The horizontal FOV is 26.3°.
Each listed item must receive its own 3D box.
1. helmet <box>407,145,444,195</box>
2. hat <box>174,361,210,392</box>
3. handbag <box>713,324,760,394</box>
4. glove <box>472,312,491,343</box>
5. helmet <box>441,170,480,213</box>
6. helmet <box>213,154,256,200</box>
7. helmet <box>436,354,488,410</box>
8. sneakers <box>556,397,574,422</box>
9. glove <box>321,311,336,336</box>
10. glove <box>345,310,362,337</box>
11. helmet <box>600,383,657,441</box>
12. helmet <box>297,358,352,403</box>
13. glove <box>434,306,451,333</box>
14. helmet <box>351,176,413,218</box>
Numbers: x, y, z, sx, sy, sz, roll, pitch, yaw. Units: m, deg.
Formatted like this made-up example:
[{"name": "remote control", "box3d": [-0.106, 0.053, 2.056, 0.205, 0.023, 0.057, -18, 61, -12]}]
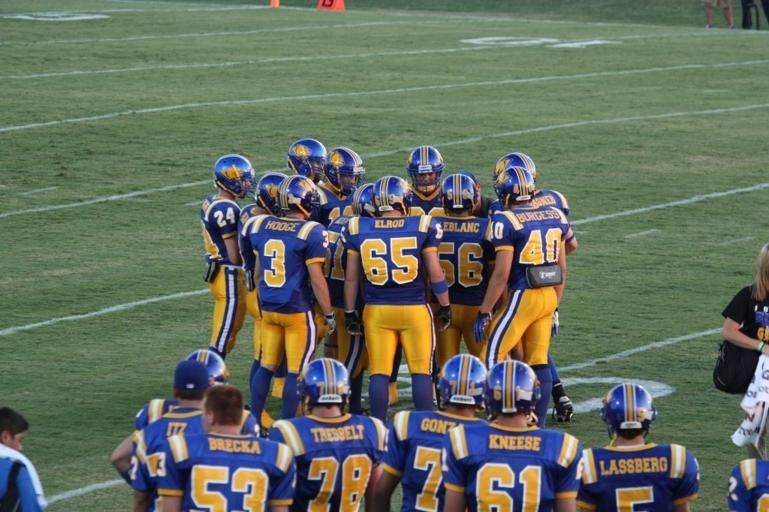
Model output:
[{"name": "helmet", "box3d": [0.422, -1.095, 19.781, 0.554, 0.477, 0.585, -1, 24, 1]}, {"name": "hat", "box3d": [-2.009, 1.256, 17.189, 0.362, 0.324, 0.180, -2, 10, -6]}, {"name": "handbag", "box3d": [3.941, 1.248, 18.387, 0.507, 0.587, 0.236, 8, 13, 42]}, {"name": "glove", "box3d": [1.164, 0.832, 19.332, 0.207, 0.391, 0.332, 0, 9, 4]}, {"name": "helmet", "box3d": [0.912, -0.724, 19.299, 0.449, 0.350, 0.501, 1, 19, 7]}, {"name": "helmet", "box3d": [-1.855, -1.016, 20.251, 0.673, 0.489, 0.438, 2, 18, -11]}, {"name": "helmet", "box3d": [0.819, 1.304, 17.002, 0.488, 0.405, 0.567, 4, 4, 1]}, {"name": "sneakers", "box3d": [2.147, 1.823, 19.404, 0.248, 0.254, 0.110, -2, 0, 18]}, {"name": "glove", "box3d": [-0.585, 0.797, 19.361, 0.123, 0.241, 0.213, -7, 1, -34]}, {"name": "glove", "box3d": [-0.346, 0.791, 19.376, 0.149, 0.330, 0.278, 2, 10, 15]}, {"name": "helmet", "box3d": [2.555, 1.558, 17.090, 0.580, 0.439, 0.576, 0, 19, 5]}, {"name": "helmet", "box3d": [-0.613, 1.303, 17.125, 0.467, 0.360, 0.526, 2, 11, -9]}, {"name": "glove", "box3d": [0.702, 0.730, 19.330, 0.148, 0.143, 0.375, 2, -26, -2]}, {"name": "helmet", "box3d": [-0.040, -0.703, 19.207, 0.667, 0.410, 0.448, 10, 19, 23]}]
